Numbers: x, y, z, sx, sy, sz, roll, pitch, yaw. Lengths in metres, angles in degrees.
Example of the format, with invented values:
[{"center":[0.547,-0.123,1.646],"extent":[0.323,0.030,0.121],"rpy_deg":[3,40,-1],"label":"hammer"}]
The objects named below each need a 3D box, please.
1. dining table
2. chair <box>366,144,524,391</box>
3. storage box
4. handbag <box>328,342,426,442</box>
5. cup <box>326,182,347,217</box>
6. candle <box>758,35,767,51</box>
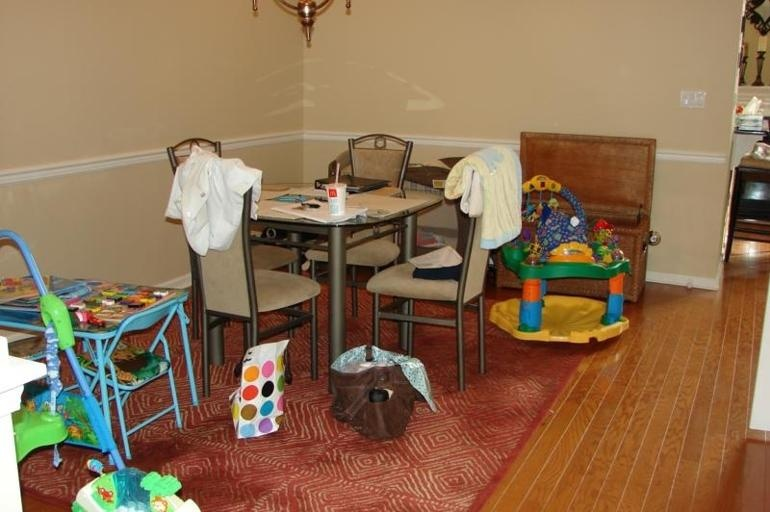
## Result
[{"center":[-0.451,0.026,3.528],"extent":[1.019,1.086,1.280],"rpy_deg":[10,19,32],"label":"dining table"},{"center":[0.366,0.056,3.542],"extent":[0.907,1.404,0.897],"rpy_deg":[5,8,36],"label":"chair"},{"center":[1.516,-0.270,4.345],"extent":[1.380,1.301,0.584],"rpy_deg":[3,9,21],"label":"storage box"},{"center":[-0.063,0.696,3.060],"extent":[0.502,0.354,0.453],"rpy_deg":[13,17,35],"label":"handbag"},{"center":[-0.270,-0.324,3.166],"extent":[0.100,0.172,0.175],"rpy_deg":[-2,18,-5],"label":"cup"},{"center":[4.646,-2.613,6.908],"extent":[0.113,0.174,0.029],"rpy_deg":[-1,18,-4],"label":"candle"}]
